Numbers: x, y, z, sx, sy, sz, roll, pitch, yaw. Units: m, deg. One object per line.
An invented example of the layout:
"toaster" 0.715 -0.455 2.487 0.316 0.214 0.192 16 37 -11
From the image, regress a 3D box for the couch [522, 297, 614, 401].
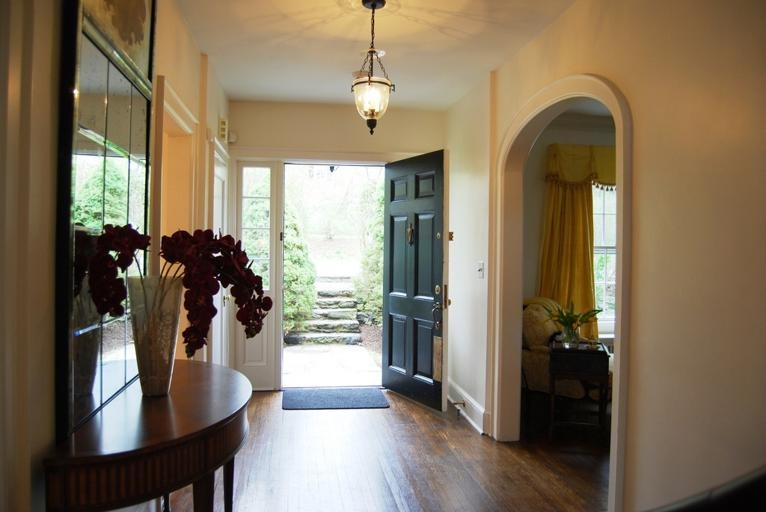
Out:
"couch" 1.580 0.764 5.040 0.681 0.841 1.211 0 0 2

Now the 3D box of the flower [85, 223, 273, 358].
"flower" -0.861 0.166 2.396 0.823 0.574 0.317 3 -1 16

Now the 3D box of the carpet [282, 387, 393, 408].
"carpet" -0.466 1.377 5.457 1.028 0.096 0.725 4 -1 -7

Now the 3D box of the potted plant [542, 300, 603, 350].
"potted plant" 1.565 0.551 4.675 0.431 0.304 0.444 1 -5 11
